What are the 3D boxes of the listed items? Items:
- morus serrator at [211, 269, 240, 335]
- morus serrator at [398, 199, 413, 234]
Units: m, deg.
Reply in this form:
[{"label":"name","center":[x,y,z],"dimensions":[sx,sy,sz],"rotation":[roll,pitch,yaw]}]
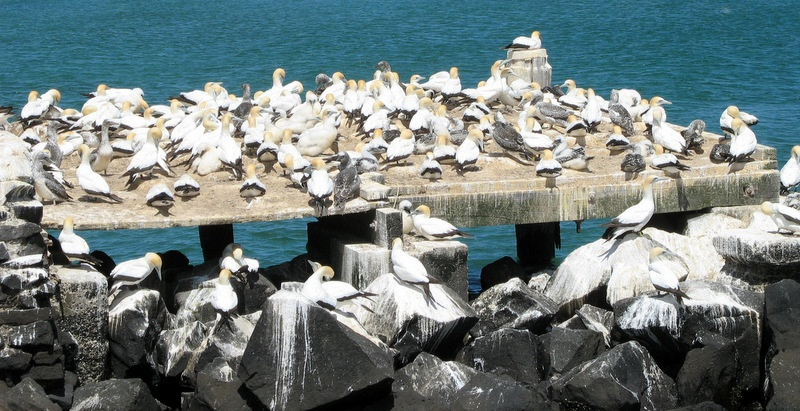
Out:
[{"label":"morus serrator","center":[-5.484,2.927,29.705],"dimensions":[0.781,1.614,1.222],"rotation":[-7,20,-4]},{"label":"morus serrator","center":[0.153,0.335,31.769],"dimensions":[0.543,1.022,0.387],"rotation":[-4,10,-42]}]
